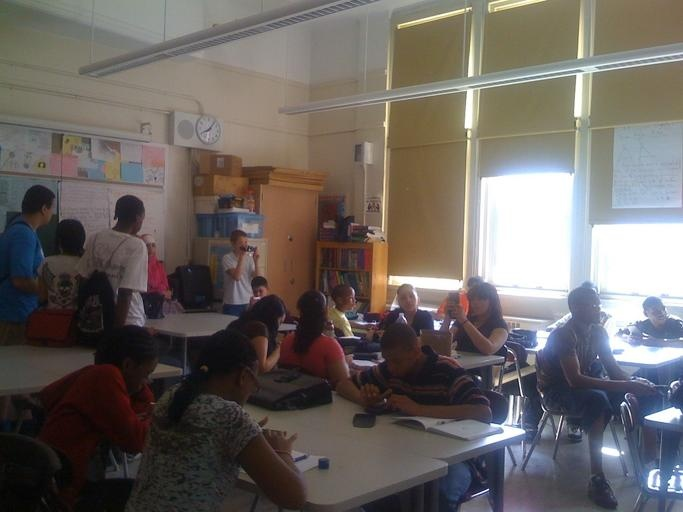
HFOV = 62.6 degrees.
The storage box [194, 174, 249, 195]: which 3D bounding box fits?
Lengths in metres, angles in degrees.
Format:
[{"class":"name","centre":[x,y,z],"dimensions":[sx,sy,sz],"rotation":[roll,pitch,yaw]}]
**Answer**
[{"class":"storage box","centre":[-1.710,-0.975,7.723],"dimensions":[0.339,0.243,0.478],"rotation":[3,4,38]}]

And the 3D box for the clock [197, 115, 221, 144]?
[{"class":"clock","centre":[-1.858,-1.770,7.823],"dimensions":[0.049,0.376,0.362],"rotation":[0,13,38]}]

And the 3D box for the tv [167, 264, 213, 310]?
[{"class":"tv","centre":[-1.861,0.387,7.109],"dimensions":[0.482,0.699,0.568],"rotation":[-1,-6,-28]}]

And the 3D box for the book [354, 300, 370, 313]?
[{"class":"book","centre":[0.282,0.723,7.886],"dimensions":[0.184,0.190,0.137],"rotation":[-8,-14,38]}]

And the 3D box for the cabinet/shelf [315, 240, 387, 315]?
[{"class":"cabinet/shelf","centre":[0.050,0.378,8.031],"dimensions":[0.699,1.273,0.375],"rotation":[1,3,2]}]

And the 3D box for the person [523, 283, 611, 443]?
[{"class":"person","centre":[1.939,0.893,4.473],"dimensions":[0.727,1.239,0.720],"rotation":[-4,-5,8]}]

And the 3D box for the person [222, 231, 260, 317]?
[{"class":"person","centre":[-1.211,0.398,6.712],"dimensions":[0.393,1.375,0.374],"rotation":[-8,16,-42]}]

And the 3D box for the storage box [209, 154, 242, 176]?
[{"class":"storage box","centre":[-1.561,-1.253,7.740],"dimensions":[0.447,0.282,0.215],"rotation":[1,4,-29]}]

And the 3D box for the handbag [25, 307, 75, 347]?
[{"class":"handbag","centre":[-2.073,0.516,4.036],"dimensions":[0.310,0.288,0.172],"rotation":[4,-2,1]}]

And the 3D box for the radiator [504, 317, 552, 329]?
[{"class":"radiator","centre":[2.251,0.803,6.744],"dimensions":[0.286,0.076,0.307],"rotation":[0,-1,-39]}]

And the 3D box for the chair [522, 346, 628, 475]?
[{"class":"chair","centre":[2.120,1.382,4.918],"dimensions":[0.498,0.786,0.526],"rotation":[-8,-13,31]}]

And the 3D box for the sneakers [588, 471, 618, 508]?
[{"class":"sneakers","centre":[1.912,1.740,4.139],"dimensions":[0.116,0.125,0.265],"rotation":[-4,-10,2]}]

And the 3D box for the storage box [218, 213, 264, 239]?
[{"class":"storage box","centre":[-1.410,-0.437,7.627],"dimensions":[0.390,0.259,0.395],"rotation":[-1,-1,43]}]

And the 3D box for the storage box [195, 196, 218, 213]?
[{"class":"storage box","centre":[-1.841,-0.707,7.667],"dimensions":[0.263,0.178,0.264],"rotation":[0,-1,36]}]
